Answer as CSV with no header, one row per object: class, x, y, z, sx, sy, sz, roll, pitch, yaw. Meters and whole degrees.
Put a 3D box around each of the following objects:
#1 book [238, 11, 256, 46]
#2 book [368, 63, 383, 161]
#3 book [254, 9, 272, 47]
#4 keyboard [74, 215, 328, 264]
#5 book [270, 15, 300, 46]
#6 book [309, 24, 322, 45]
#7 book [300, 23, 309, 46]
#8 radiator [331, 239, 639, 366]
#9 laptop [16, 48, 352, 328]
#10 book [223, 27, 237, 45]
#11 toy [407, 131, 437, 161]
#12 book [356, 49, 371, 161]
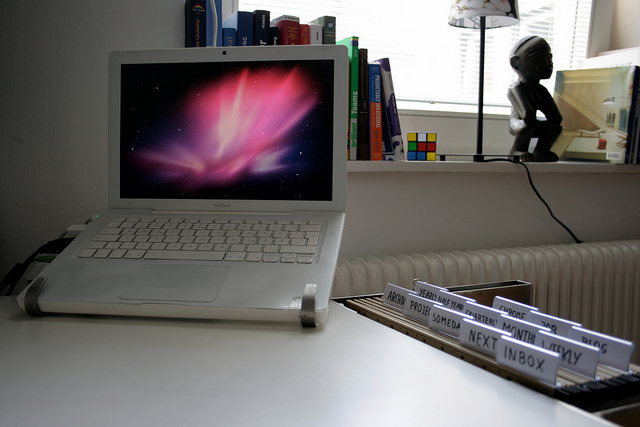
book,-0.210,-0.535,1.361,0.051,0.095,0.051,-1,14,-8
book,0.175,-0.318,1.478,0.048,0.292,0.060,0,13,-6
book,-0.167,-0.548,1.390,0.047,0.097,0.053,0,14,-5
keyboard,-0.227,0.045,0.933,0.476,0.070,0.120,2,14,4
book,-0.107,-0.544,1.426,0.063,0.084,0.085,-11,16,-40
book,-0.011,-0.540,1.414,0.040,0.055,0.020,-2,14,-11
book,-0.045,-0.534,1.401,0.026,0.057,0.022,5,14,16
radiator,0.646,0.304,1.658,1.226,0.377,0.133,-3,14,-14
laptop,-0.221,-0.094,0.852,0.558,0.376,0.494,4,21,11
book,-0.259,-0.514,1.364,0.040,0.046,0.019,-2,14,-13
toy,0.365,-0.244,1.660,0.107,0.096,0.105,1,18,8
book,0.142,-0.337,1.460,0.049,0.332,0.059,2,13,4
